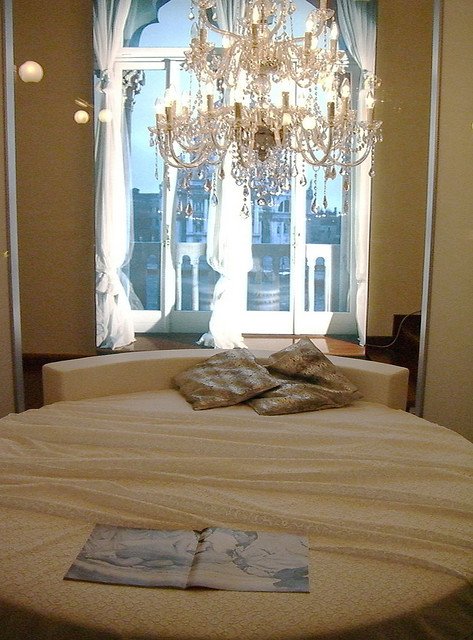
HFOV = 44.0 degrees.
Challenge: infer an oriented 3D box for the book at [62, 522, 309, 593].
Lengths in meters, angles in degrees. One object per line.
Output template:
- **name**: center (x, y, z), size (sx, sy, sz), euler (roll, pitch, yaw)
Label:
- **book**: center (-0.087, 0.467, 1.166), size (0.460, 0.014, 0.227), euler (1, 9, 5)
